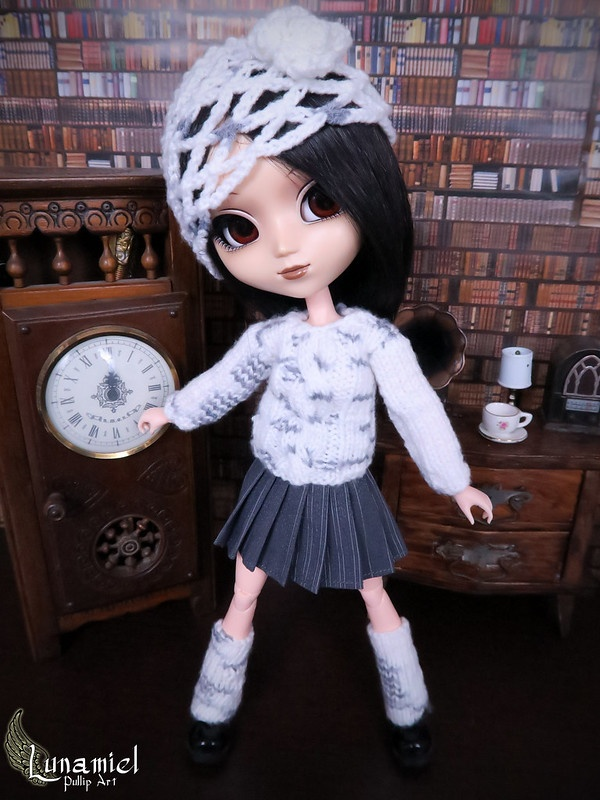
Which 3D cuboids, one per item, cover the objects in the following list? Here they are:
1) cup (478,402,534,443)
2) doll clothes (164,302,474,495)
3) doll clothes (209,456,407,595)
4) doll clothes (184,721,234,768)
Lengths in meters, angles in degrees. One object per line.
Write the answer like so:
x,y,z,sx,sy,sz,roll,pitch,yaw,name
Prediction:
0.656,0.062,2.025,0.185,0.096,0.125,-2,17,-4,cup
0.068,-0.007,1.640,0.732,0.332,0.186,10,25,12,doll clothes
0.090,0.280,1.650,0.332,0.297,0.537,27,16,33,doll clothes
-0.236,0.892,1.659,0.109,0.101,0.117,0,-2,-7,doll clothes
